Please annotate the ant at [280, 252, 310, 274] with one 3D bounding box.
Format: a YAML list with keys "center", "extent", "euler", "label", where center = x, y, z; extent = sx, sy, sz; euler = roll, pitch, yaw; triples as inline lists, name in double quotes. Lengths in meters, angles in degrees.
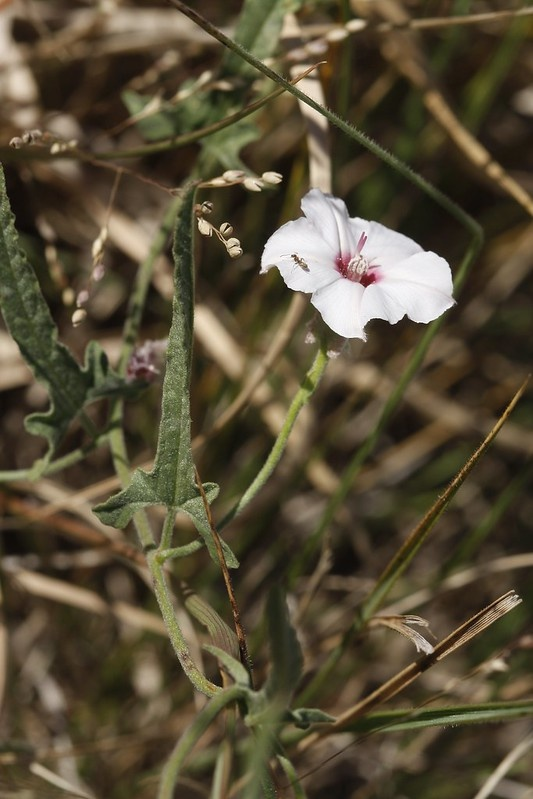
- center: [0.067, -0.298, 1.817]
  extent: [0.065, 0.031, 0.035]
  euler: [8, 40, 15]
  label: "ant"
